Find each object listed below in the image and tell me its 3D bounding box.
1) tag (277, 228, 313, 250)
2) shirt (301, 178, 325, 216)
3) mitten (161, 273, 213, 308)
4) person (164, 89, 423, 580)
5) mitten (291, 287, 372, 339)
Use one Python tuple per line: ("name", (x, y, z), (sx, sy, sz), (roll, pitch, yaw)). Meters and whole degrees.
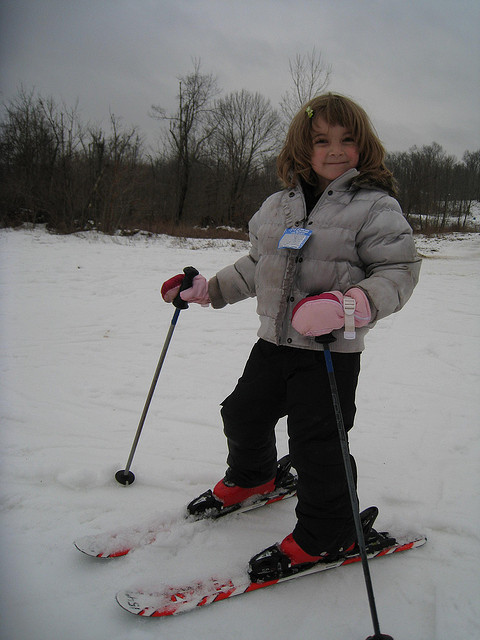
("tag", (0.219, -0.312, 2.145), (0.132, 0.126, 0.016), (3, -44, 44))
("shirt", (0.305, -0.517, 2.316), (0.113, 0.142, 0.057), (-3, -11, -5))
("mitten", (-0.255, -0.158, 2.592), (0.212, 0.161, 0.133), (-1, 15, -11))
("person", (0.270, 0.069, 2.320), (0.465, 1.973, 0.917), (4, 6, -38))
("mitten", (0.335, -0.030, 2.037), (0.266, 0.197, 0.135), (8, 5, 25))
